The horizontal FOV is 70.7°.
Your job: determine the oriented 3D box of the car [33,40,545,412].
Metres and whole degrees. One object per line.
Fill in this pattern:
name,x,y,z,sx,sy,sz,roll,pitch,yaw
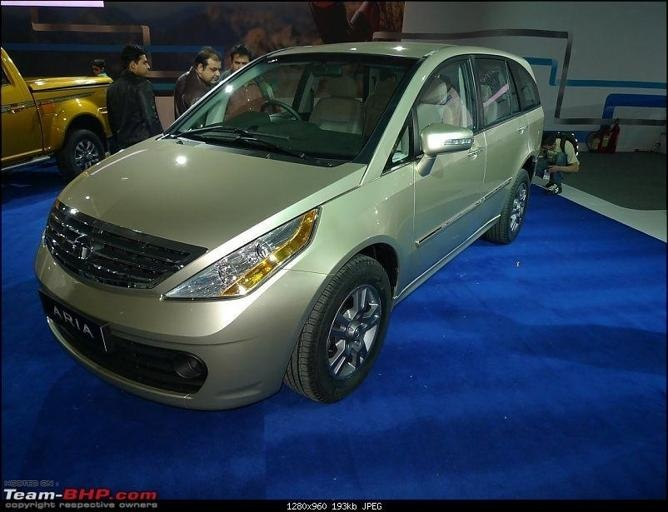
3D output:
car,0.064,-0.350,3.282,1.908,1.563,3.421,20,31,36

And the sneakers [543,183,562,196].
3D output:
sneakers,2.943,-0.894,6.333,0.251,0.121,0.103,15,27,36
